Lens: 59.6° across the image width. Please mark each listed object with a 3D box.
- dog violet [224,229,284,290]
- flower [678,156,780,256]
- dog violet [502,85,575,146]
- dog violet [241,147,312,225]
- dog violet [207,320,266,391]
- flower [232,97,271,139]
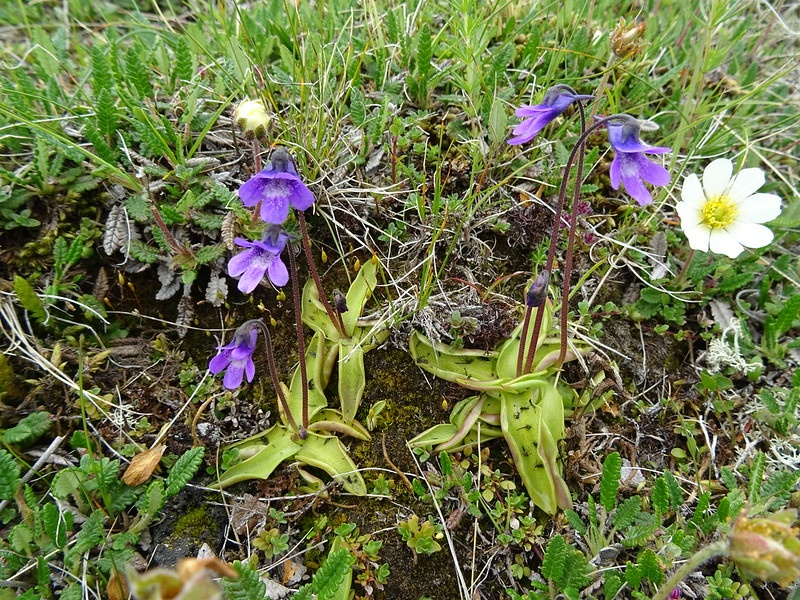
[{"bbox_3d":[-0.725,-0.188,3.604,0.308,0.271,0.303,-3,54,-9],"label":"dog violet"},{"bbox_3d":[1.832,-0.498,3.956,0.569,0.307,0.474,10,54,-1],"label":"flower"},{"bbox_3d":[0.731,-0.936,3.545,0.434,0.150,0.182,-31,81,-3],"label":"dog violet"},{"bbox_3d":[-0.640,-0.612,3.543,0.428,0.171,0.296,-57,42,8],"label":"dog violet"},{"bbox_3d":[-0.853,0.282,3.766,0.220,0.448,0.200,24,15,2],"label":"dog violet"},{"bbox_3d":[-0.809,-0.993,3.881,0.151,0.129,0.226,-1,68,-13],"label":"flower"}]
